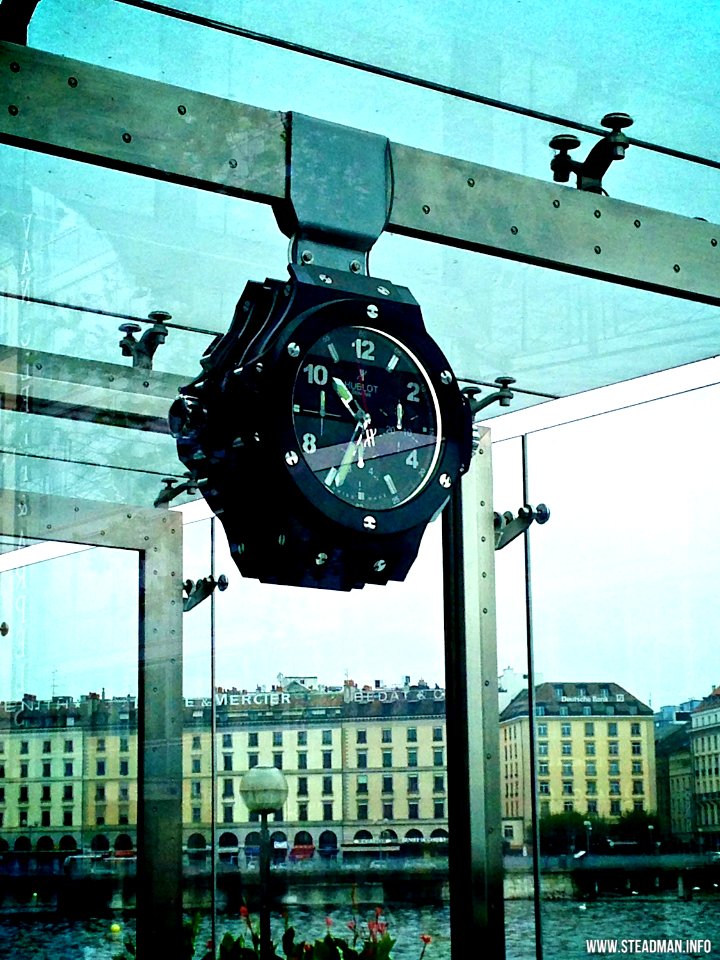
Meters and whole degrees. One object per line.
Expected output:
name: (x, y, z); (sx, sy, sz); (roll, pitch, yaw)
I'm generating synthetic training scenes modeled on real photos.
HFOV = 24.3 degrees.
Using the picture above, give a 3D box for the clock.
clock: (-0.091, -0.122, 4.229); (0.806, 0.770, 0.435); (4, -8, -32)

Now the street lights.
street lights: (-0.365, 1.458, 6.339); (0.180, 0.723, 0.450); (-1, -10, -4)
